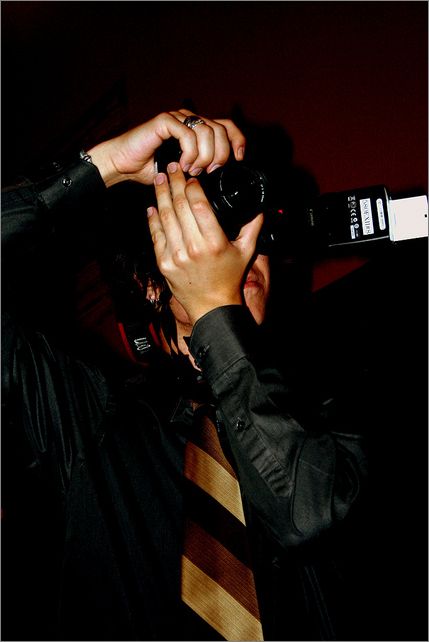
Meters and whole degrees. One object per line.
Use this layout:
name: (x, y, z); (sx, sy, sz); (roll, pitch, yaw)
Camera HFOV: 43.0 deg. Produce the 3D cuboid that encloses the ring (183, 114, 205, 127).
ring: (-0.042, -0.420, 1.144); (0.039, 0.015, 0.031); (13, 30, 33)
